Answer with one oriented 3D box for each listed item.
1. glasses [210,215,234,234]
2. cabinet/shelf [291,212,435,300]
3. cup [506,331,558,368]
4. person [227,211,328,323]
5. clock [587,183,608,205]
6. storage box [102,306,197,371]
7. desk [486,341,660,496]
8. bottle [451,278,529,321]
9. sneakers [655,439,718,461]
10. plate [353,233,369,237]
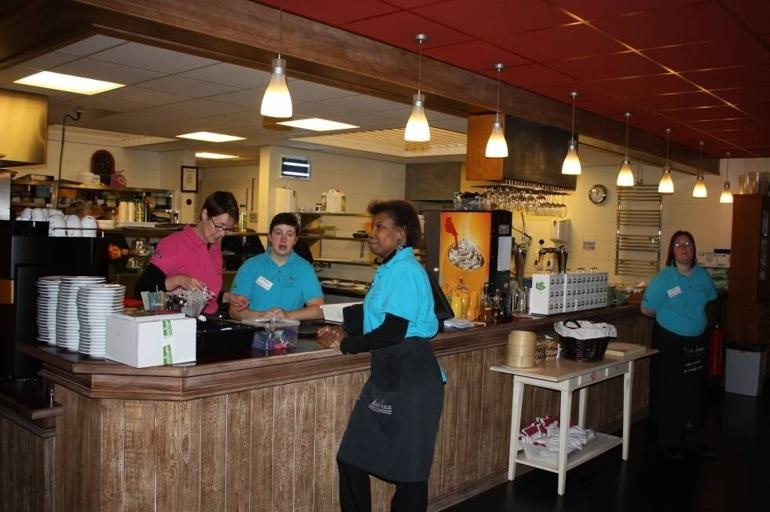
[{"bbox_3d":[-1.228,-0.234,4.174,0.144,0.047,0.144,15,17,-46],"label":"glasses"},{"bbox_3d":[-0.324,0.019,6.080,1.435,1.296,0.520,-4,-6,44],"label":"cabinet/shelf"},{"bbox_3d":[1.329,0.817,4.941,0.468,0.271,0.251,0,-1,-40],"label":"cup"},{"bbox_3d":[-0.899,0.181,4.648,0.828,1.040,0.686,5,6,-23],"label":"person"},{"bbox_3d":[4.201,-1.222,11.015,0.369,0.358,0.085,6,6,41],"label":"clock"},{"bbox_3d":[-1.406,0.457,3.352,0.382,0.262,0.387,3,1,39],"label":"storage box"},{"bbox_3d":[1.701,1.530,5.173,0.523,0.820,1.387,4,3,44],"label":"desk"},{"bbox_3d":[1.082,0.430,5.362,0.395,0.354,0.779,3,1,30],"label":"bottle"},{"bbox_3d":[3.108,1.990,5.687,0.686,0.096,0.293,2,1,-10],"label":"sneakers"},{"bbox_3d":[-0.371,-0.330,9.033,0.187,0.052,0.188,-1,-3,34],"label":"plate"}]
